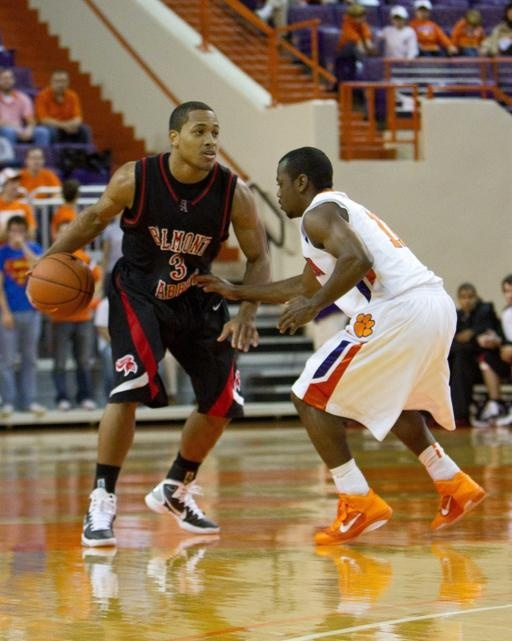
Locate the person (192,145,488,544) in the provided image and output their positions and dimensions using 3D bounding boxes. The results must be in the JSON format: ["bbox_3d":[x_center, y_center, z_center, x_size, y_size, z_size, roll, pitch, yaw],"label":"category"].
[{"bbox_3d":[0.437,0.087,3.233,0.965,1.584,0.716,3,6,-32],"label":"person"}]

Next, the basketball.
[{"bbox_3d":[-0.874,-0.148,3.387,0.321,0.281,0.309,-2,6,-31],"label":"basketball"}]

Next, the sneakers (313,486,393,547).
[{"bbox_3d":[0.369,0.779,3.063,0.257,0.227,0.158,4,5,-18],"label":"sneakers"}]
